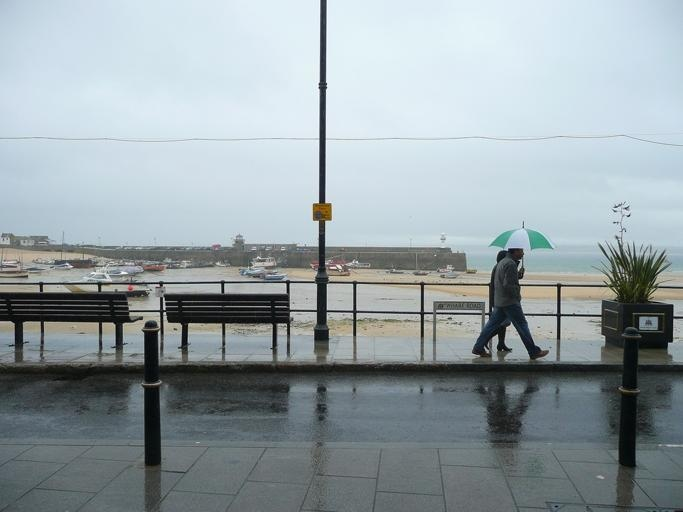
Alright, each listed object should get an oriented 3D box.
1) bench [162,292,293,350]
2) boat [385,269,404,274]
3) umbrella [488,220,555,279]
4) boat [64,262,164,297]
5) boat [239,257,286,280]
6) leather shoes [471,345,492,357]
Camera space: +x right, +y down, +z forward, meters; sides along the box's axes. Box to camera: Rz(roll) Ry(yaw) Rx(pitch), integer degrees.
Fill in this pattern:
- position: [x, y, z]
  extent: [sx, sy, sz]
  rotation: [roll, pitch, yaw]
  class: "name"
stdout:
- position: [-1.916, 1.228, 14.236]
  extent: [2.681, 1.006, 0.871]
  rotation: [-2, -11, 30]
  class: "bench"
- position: [8.254, 2.548, 127.693]
  extent: [4.243, 0.843, 0.878]
  rotation: [2, 2, 40]
  class: "boat"
- position: [3.242, -0.141, 13.913]
  extent: [1.146, 0.787, 1.076]
  rotation: [-4, 13, -6]
  class: "umbrella"
- position: [-19.323, 1.733, 66.724]
  extent: [11.673, 3.299, 3.554]
  rotation: [1, 8, 21]
  class: "boat"
- position: [-11.877, 1.786, 119.979]
  extent: [3.250, 3.615, 12.366]
  rotation: [0, -2, -19]
  class: "boat"
- position: [2.439, 1.640, 13.439]
  extent: [0.385, 0.127, 0.125]
  rotation: [4, 7, -11]
  class: "leather shoes"
